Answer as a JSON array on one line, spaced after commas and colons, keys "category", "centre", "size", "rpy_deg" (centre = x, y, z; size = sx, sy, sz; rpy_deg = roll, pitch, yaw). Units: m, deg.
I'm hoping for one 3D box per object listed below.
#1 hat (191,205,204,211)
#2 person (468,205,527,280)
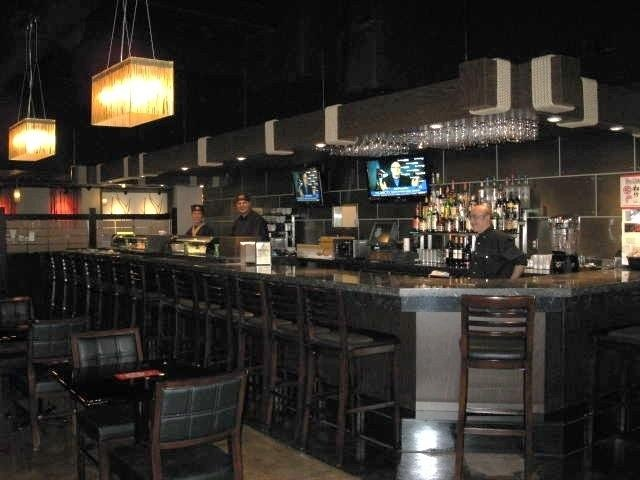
[{"category": "hat", "centre": [-1.944, -0.516, 10.213], "size": [0.127, 0.075, 0.160], "rpy_deg": [2, -4, -32]}, {"category": "person", "centre": [1.823, 0.017, 6.629], "size": [0.545, 0.740, 0.322], "rpy_deg": [-1, 3, 12]}]
